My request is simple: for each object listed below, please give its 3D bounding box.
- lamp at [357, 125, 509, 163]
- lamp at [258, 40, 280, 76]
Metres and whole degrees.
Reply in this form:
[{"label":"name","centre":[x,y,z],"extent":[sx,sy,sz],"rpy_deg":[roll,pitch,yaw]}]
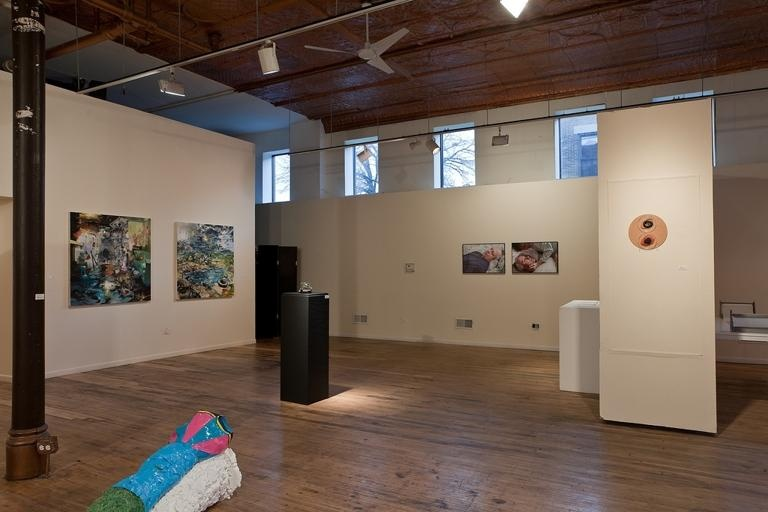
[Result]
[{"label":"lamp","centre":[1.288,-2.815,13.289],"extent":[3.619,0.790,1.569],"rpy_deg":[1,6,16]},{"label":"lamp","centre":[-1.836,-3.173,8.347],"extent":[0.281,0.540,0.651],"rpy_deg":[-2,6,-12]}]
